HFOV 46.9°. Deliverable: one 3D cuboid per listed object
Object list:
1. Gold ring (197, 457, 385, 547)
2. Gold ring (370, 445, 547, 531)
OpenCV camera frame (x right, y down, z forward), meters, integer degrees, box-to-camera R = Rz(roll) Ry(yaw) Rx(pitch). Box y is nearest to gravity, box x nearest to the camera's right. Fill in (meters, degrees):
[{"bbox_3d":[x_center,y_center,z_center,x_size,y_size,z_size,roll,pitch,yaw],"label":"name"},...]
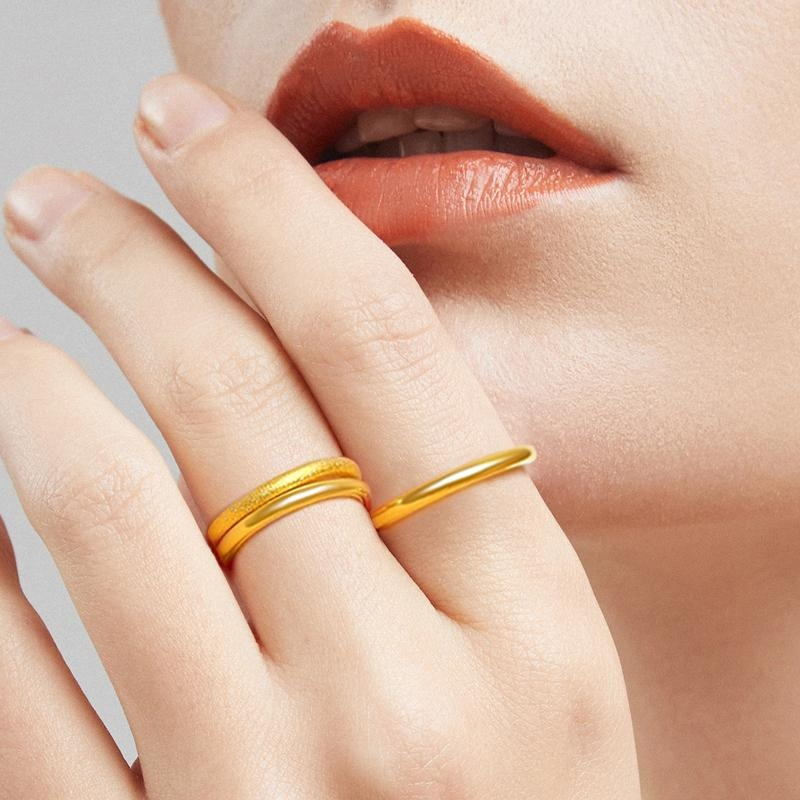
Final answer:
[{"bbox_3d":[-0.106,0.104,0.854,0.109,0.105,0.022,-24,-90,5],"label":"Gold ring"},{"bbox_3d":[0.047,0.083,0.864,0.179,0.021,0.176,-16,-3,-1],"label":"Gold ring"}]
